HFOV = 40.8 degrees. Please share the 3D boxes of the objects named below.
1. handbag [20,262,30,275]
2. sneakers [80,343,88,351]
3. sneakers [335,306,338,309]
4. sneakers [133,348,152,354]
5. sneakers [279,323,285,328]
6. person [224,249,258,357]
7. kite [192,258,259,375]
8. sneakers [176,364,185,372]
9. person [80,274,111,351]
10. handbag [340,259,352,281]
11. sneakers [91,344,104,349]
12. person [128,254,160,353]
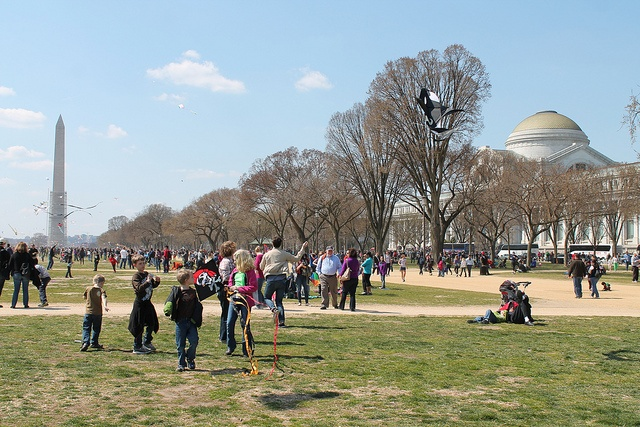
[{"bbox_3d":[-11.475,2.230,34.185,0.163,0.567,0.400,-3,-8,36],"label":"handbag"},{"bbox_3d":[-7.745,4.497,28.916,0.178,0.279,0.283,20,-51,-16],"label":"sneakers"},{"bbox_3d":[0.679,4.002,36.651,0.138,0.098,0.075,-2,7,1],"label":"sneakers"},{"bbox_3d":[-5.873,4.588,28.864,0.513,0.227,0.218,-1,-3,0],"label":"sneakers"},{"bbox_3d":[-1.425,4.177,32.131,0.149,0.181,0.438,0,-8,-6],"label":"sneakers"},{"bbox_3d":[-2.608,2.976,28.766,0.918,3.490,0.678,1,-6,3],"label":"person"},{"bbox_3d":[-3.190,3.203,28.683,2.526,3.686,1.110,0,5,-32],"label":"kite"},{"bbox_3d":[-4.406,4.984,27.705,0.221,0.135,0.287,-2,-4,-3],"label":"sneakers"},{"bbox_3d":[-7.575,3.395,29.524,0.800,2.576,1.103,3,-7,-14],"label":"person"},{"bbox_3d":[0.937,2.385,35.304,0.314,0.834,0.549,7,-9,-40],"label":"handbag"},{"bbox_3d":[-7.381,4.503,29.124,0.380,0.164,0.148,1,1,-19],"label":"sneakers"},{"bbox_3d":[-5.828,3.055,29.112,0.918,3.357,1.022,3,-6,-10],"label":"person"}]
